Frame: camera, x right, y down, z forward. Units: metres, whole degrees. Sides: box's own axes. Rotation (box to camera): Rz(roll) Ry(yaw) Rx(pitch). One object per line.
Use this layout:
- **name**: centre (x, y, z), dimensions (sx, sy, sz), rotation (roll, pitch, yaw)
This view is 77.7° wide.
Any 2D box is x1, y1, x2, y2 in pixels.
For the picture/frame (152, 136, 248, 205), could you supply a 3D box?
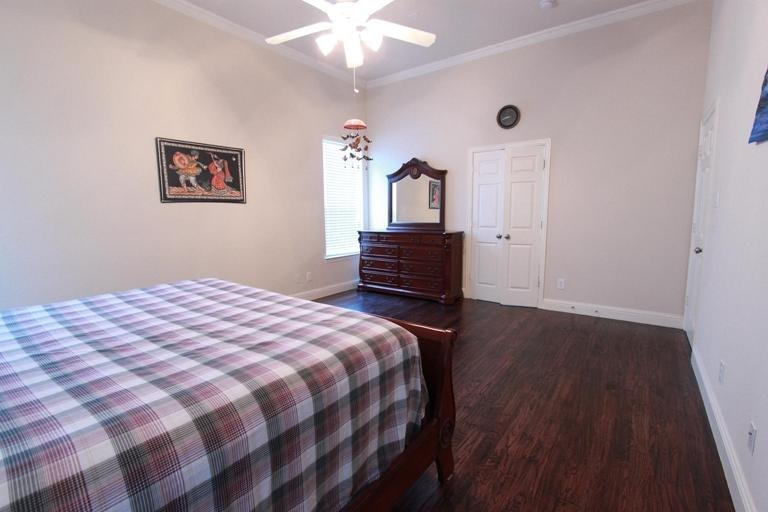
- **picture/frame**: centre (-2.110, -0.968, 5.364), dimensions (0.058, 0.599, 0.870), rotation (6, 6, 41)

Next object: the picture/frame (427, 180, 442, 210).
- **picture/frame**: centre (0.714, -0.889, 6.859), dimensions (0.195, 0.405, 0.028), rotation (4, 11, 32)

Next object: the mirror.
- **mirror**: centre (0.510, -0.930, 6.976), dimensions (1.037, 1.112, 0.082), rotation (3, 6, 33)

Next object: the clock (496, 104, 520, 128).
- **clock**: centre (1.592, -1.782, 6.146), dimensions (0.304, 0.308, 0.043), rotation (5, 11, 35)
